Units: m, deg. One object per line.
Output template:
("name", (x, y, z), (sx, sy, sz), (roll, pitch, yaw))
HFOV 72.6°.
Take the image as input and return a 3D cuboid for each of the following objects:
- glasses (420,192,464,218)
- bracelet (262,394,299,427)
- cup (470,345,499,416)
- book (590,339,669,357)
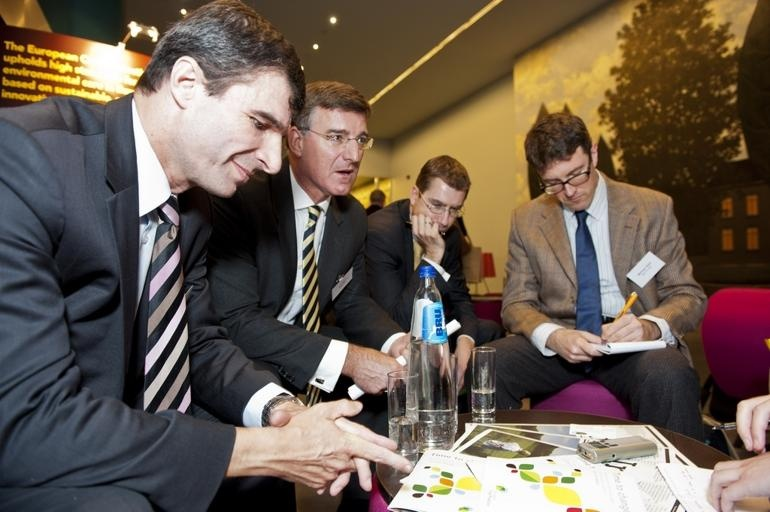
("glasses", (0.359, -0.304, 3.344), (0.168, 0.054, 0.174), (9, 23, -30))
("bracelet", (-0.403, 0.567, 1.930), (0.098, 0.045, 0.121), (4, 21, 11))
("cup", (0.413, 0.537, 2.195), (0.097, 0.302, 0.079), (1, -10, 14))
("book", (1.208, 0.452, 2.576), (0.314, 0.073, 0.370), (-3, -12, 28))
